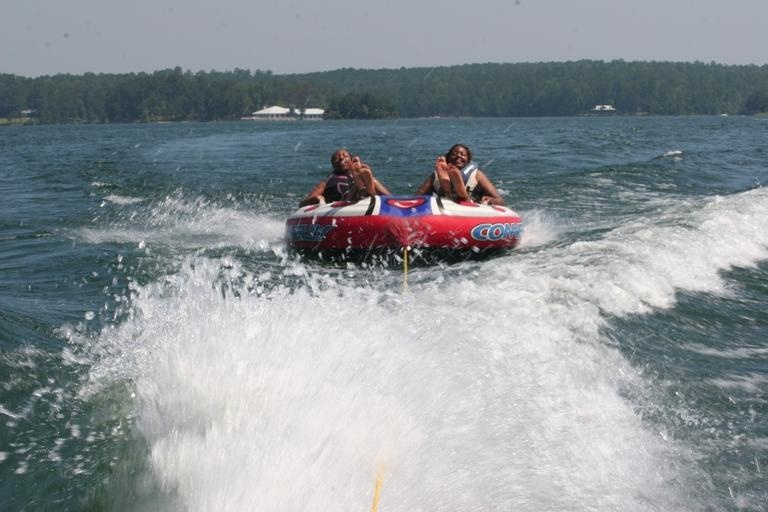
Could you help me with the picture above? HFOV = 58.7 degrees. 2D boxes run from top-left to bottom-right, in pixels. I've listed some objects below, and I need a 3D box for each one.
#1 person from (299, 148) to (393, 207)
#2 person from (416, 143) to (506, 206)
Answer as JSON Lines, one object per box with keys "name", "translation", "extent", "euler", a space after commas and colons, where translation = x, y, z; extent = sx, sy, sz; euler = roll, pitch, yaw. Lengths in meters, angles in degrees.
{"name": "person", "translation": [-0.496, -0.940, 8.176], "extent": [0.694, 0.533, 0.973], "euler": [-11, -1, -8]}
{"name": "person", "translation": [0.952, -0.893, 8.250], "extent": [0.932, 0.810, 1.425], "euler": [-5, 9, 5]}
